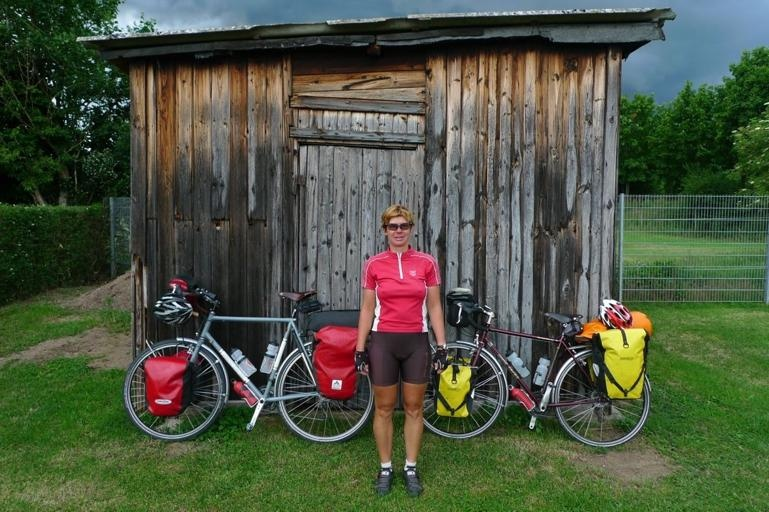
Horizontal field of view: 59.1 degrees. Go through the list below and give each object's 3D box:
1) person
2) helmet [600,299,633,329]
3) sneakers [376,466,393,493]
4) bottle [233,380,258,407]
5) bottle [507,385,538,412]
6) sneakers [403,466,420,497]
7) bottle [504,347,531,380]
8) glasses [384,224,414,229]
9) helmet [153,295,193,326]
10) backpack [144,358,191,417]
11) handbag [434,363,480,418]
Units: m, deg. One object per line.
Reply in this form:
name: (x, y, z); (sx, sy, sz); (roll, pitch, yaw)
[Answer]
person: (0.186, 1.181, 8.522); (1.093, 3.595, 0.560); (1, 8, 0)
helmet: (3.152, 0.856, 9.335); (0.302, 0.443, 0.156); (-32, -27, -12)
sneakers: (-0.020, 2.838, 8.571); (0.130, 0.161, 0.379); (0, 12, 2)
bottle: (-1.940, 1.922, 9.440); (0.245, 0.441, 0.154); (-41, -7, 2)
bottle: (1.882, 2.009, 9.403); (0.143, 0.385, 0.234); (-51, -8, 33)
sneakers: (0.335, 2.845, 8.528); (0.135, 0.165, 0.396); (-3, 33, -17)
bottle: (1.855, 1.546, 9.631); (0.169, 0.593, 0.174); (-35, 4, 3)
glasses: (0.162, -0.366, 8.490); (0.329, 0.096, 0.054); (1, 8, 0)
helmet: (-2.885, 0.749, 9.279); (0.453, 0.367, 0.307); (10, 58, 47)
backpack: (-2.968, 1.762, 9.273); (0.568, 0.858, 0.399); (3, 21, -7)
handbag: (0.922, 1.829, 9.097); (0.520, 0.733, 0.367); (2, 10, 2)
